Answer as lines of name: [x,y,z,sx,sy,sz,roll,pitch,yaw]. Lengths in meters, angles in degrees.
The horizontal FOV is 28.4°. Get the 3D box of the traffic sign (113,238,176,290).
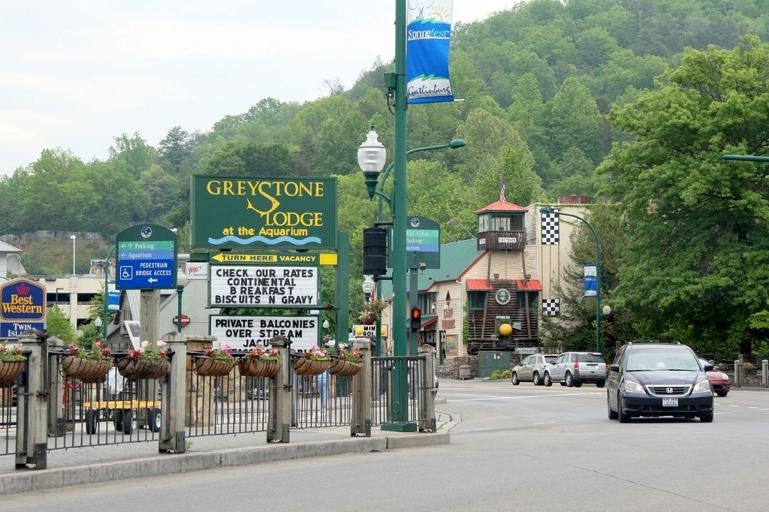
traffic sign: [-9.976,0.336,63.697,2.283,1.840,0.352,-1,-5,7]
